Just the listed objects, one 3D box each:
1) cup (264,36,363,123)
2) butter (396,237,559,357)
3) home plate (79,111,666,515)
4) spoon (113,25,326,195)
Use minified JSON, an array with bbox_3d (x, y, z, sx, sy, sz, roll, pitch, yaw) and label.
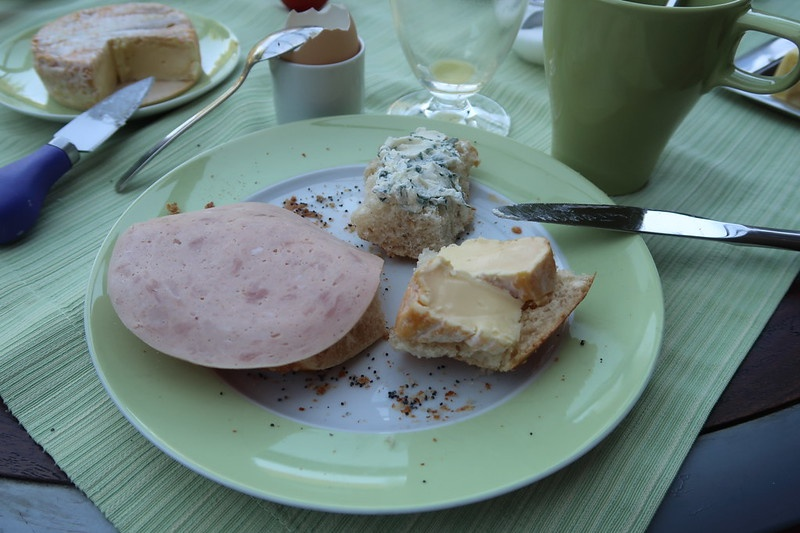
[{"bbox_3d":[-0.209,-0.442,1.808,0.195,0.213,0.220,-2,37,-4],"label":"cup"},{"bbox_3d":[0.151,0.060,1.435,0.256,0.089,0.261,2,44,4],"label":"butter"},{"bbox_3d":[-0.048,0.057,1.492,1.132,0.143,0.897,7,62,3],"label":"home plate"},{"bbox_3d":[-0.457,-0.385,1.820,0.115,0.082,0.637,43,85,-6],"label":"spoon"}]
